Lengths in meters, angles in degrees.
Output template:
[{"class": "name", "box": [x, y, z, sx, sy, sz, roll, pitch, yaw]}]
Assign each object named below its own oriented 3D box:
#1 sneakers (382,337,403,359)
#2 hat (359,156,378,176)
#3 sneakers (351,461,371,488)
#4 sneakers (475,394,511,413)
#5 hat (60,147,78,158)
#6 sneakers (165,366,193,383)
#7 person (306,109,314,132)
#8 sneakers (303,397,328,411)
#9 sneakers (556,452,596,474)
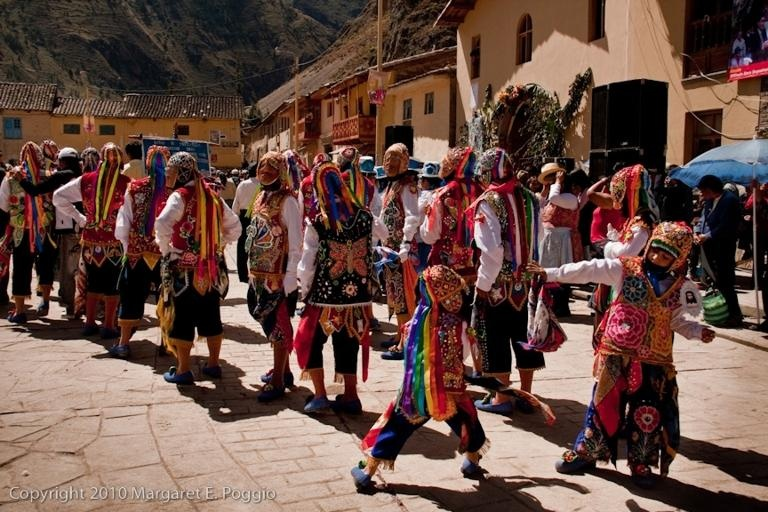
[{"class": "sneakers", "box": [0.079, 1.113, 8.706, 0.192, 0.226, 0.571, -3, -14, 18]}, {"class": "hat", "box": [-0.232, -1.400, 11.211, 0.395, 0.192, 0.385, 0, 2, -6]}, {"class": "sneakers", "box": [-0.198, 1.902, 6.252, 0.136, 0.139, 0.226, 13, 16, -26]}, {"class": "sneakers", "box": [1.166, 1.546, 7.586, 0.401, 0.170, 0.161, 3, -4, 24]}, {"class": "hat", "box": [-4.460, -1.460, 10.313, 0.200, 0.140, 0.269, 3, 11, 10]}, {"class": "sneakers", "box": [-2.309, 1.322, 8.073, 0.353, 0.139, 0.141, 3, 1, 29]}, {"class": "person", "box": [-4.619, -8.483, 45.590, 0.472, 1.173, 1.309, 0, 2, -5]}, {"class": "sneakers", "box": [-0.698, 1.534, 7.458, 0.240, 0.099, 0.126, -11, -22, 19]}, {"class": "sneakers", "box": [1.731, 1.858, 6.513, 0.333, 0.138, 0.173, 2, -1, -3]}]
